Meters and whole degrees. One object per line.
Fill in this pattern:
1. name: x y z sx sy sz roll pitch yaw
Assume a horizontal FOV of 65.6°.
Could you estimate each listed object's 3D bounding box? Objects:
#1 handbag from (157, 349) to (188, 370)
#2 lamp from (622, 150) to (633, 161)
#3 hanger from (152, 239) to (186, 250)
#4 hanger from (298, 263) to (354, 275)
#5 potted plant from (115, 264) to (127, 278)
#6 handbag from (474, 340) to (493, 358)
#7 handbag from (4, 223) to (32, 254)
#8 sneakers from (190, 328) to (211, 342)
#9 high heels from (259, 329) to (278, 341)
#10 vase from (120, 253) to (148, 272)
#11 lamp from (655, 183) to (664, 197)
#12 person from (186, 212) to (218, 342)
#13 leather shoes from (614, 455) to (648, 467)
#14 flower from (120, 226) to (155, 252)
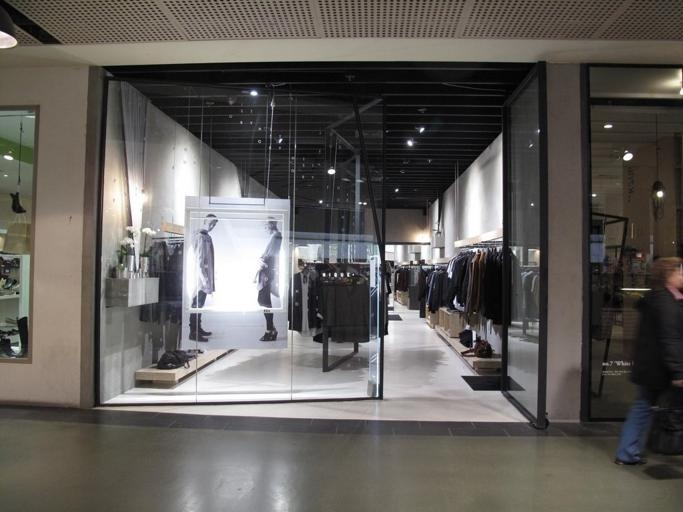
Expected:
1. handbag: -1.834 1.142 5.848 0.196 0.147 0.289 1 -10 1
2. lamp: 2.925 -1.025 5.415 0.109 0.113 0.037 -2 11 -10
3. hanger: -1.874 -0.137 5.758 0.329 0.116 0.029 1 10 4
4. hanger: -0.173 0.135 5.859 0.602 0.152 0.016 -2 11 -10
5. potted plant: -2.362 0.168 5.732 0.130 0.106 0.125 -5 -27 7
6. handbag: 2.001 1.303 7.427 0.248 0.171 0.418 4 12 17
7. handbag: -3.498 -0.197 5.765 0.279 0.397 0.170 3 3 0
8. sneakers: -1.535 0.868 5.754 0.256 0.179 0.088 0 -4 -7
9. high heels: -0.789 0.867 5.790 0.176 0.099 0.102 -2 -2 20
10. vase: -2.244 0.070 5.754 0.177 0.172 0.223 3 2 45
11. lamp: 3.230 -0.671 5.371 0.091 0.152 0.042 -1 11 -6
12. person: -1.494 0.234 5.754 0.291 1.349 0.252 0 10 2
13. leather shoes: 2.472 1.761 4.571 0.264 0.123 0.093 -4 -8 8
14. flower: -2.229 -0.186 5.764 0.304 0.259 0.056 0 10 -2
